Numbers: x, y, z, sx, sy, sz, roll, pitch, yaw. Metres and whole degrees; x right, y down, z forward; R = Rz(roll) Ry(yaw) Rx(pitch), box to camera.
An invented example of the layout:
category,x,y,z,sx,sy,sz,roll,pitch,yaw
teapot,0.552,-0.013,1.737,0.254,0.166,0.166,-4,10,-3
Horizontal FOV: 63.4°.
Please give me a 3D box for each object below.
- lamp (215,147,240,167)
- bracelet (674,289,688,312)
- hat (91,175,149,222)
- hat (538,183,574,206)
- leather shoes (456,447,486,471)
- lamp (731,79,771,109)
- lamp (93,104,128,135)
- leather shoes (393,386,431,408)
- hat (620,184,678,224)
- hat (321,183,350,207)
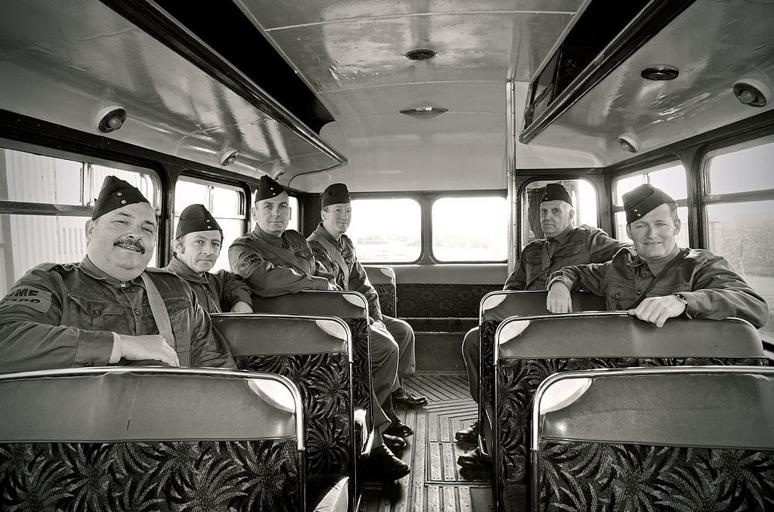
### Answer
category,x,y,z,sx,sy,sz,roll,pitch,yaw
lamp,-1.573,-0.971,6.217,0.137,0.157,0.178,-12,-8,-4
bracelet,1.774,0.281,3.834,0.054,0.105,0.077,-2,-27,-17
hat,-1.653,-0.330,3.869,0.309,0.224,0.236,-14,-1,17
hat,1.745,-0.620,6.447,0.263,0.184,0.271,2,3,17
leather shoes,0.637,1.719,5.324,0.400,0.174,0.173,2,-7,3
lamp,2.525,-1.123,4.362,0.183,0.083,0.181,43,-13,-9
lamp,-2.030,-1.000,4.665,0.156,0.204,0.322,1,-3,10
leather shoes,0.237,1.578,6.918,0.461,0.188,0.168,-1,-2,17
hat,1.966,-0.404,4.765,0.415,0.230,0.331,-25,-6,23
hat,-0.561,-0.656,6.939,0.266,0.207,0.258,-4,3,7
